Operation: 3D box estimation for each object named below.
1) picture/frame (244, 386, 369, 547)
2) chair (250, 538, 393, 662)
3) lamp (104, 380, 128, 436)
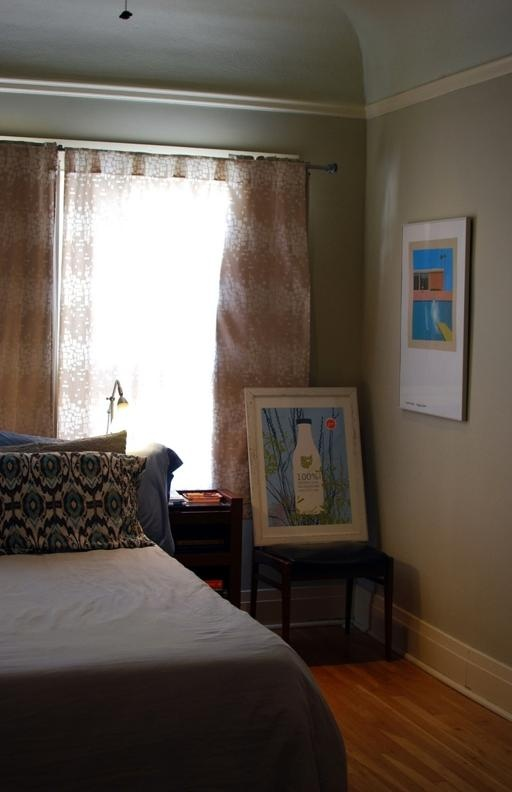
[{"bbox_3d":[0.280,0.392,3.339,0.608,0.947,0.032,-2,21,9],"label":"picture/frame"},{"bbox_3d":[0.308,0.851,3.175,0.623,0.730,0.528,0,-5,-11],"label":"chair"},{"bbox_3d":[-0.684,0.050,3.036,0.108,0.254,0.323,1,-5,-12],"label":"lamp"}]
